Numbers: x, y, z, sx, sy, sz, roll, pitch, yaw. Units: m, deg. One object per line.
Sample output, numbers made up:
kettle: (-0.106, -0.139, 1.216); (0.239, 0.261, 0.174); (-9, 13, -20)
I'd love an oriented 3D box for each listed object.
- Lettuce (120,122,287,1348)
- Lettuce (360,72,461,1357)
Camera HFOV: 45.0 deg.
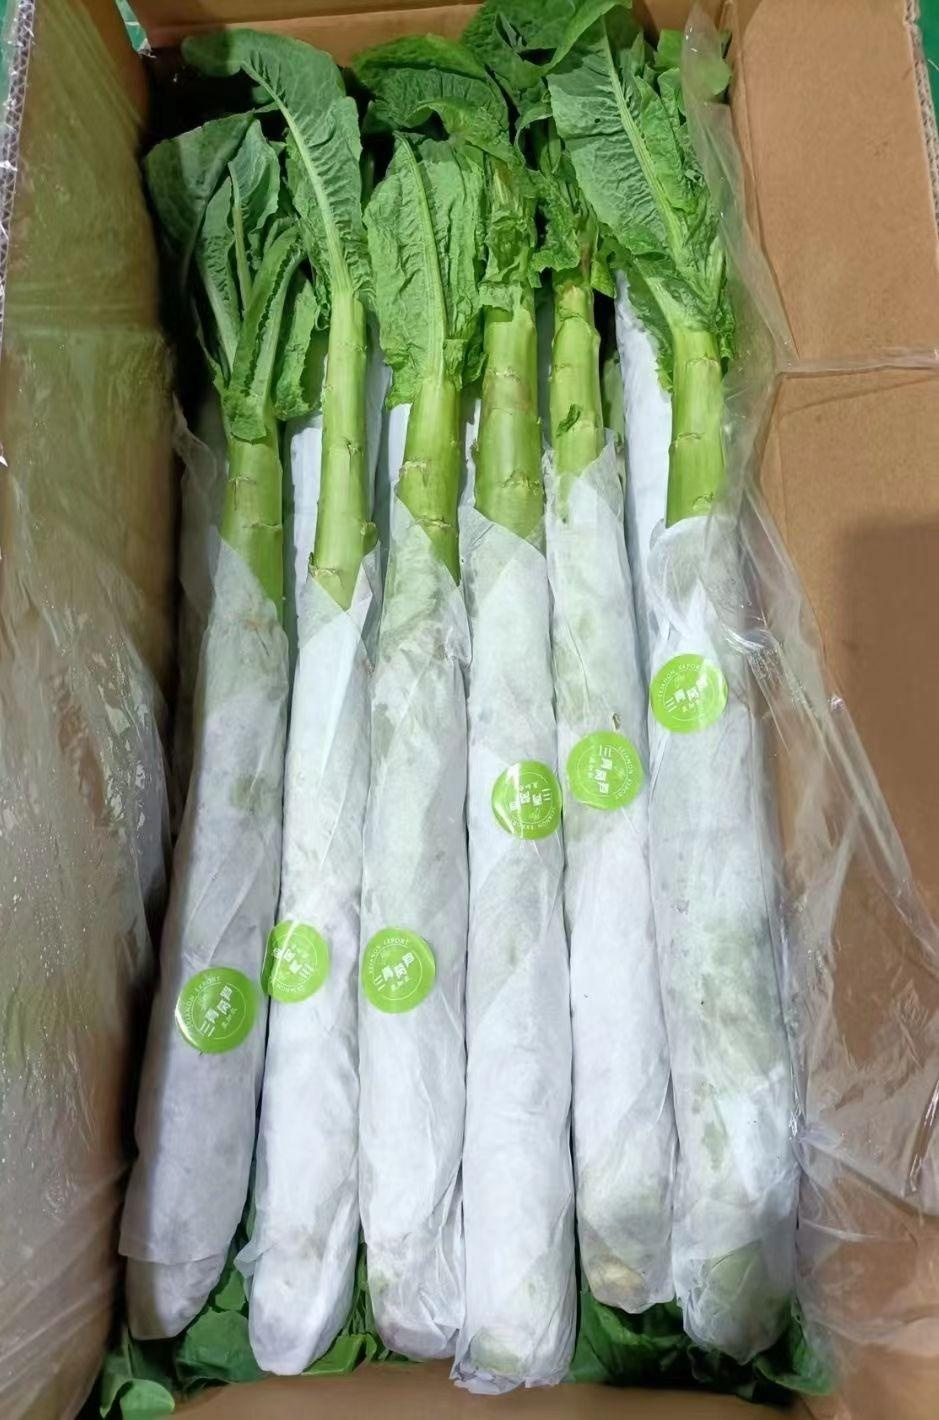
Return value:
Lettuce: (-0.210, 0.054, 0.996); (0.105, 0.125, 1.381); (1, 75, -8)
Lettuce: (-0.028, -0.046, 1.036); (0.083, 0.109, 1.130); (0, 77, 7)
